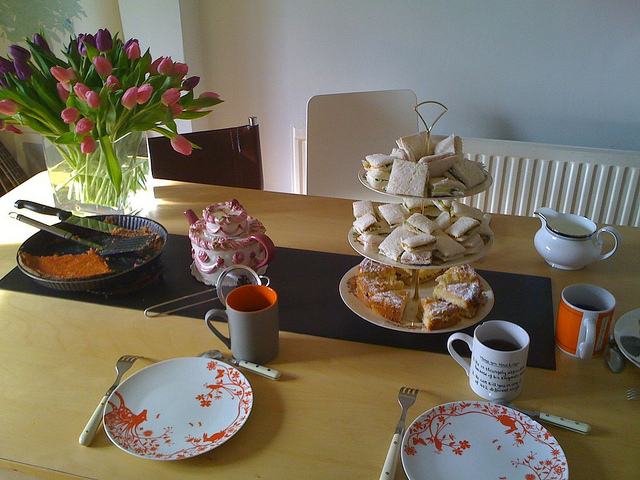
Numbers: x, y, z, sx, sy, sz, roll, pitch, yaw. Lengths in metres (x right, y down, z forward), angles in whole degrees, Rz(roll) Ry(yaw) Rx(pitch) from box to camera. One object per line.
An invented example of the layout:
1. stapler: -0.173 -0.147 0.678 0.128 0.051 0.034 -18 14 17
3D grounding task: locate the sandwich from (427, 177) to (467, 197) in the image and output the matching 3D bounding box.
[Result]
1. sandwich: 0.278 -0.115 1.000 0.081 0.032 0.070 4 25 18

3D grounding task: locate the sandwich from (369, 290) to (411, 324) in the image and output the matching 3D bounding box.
1. sandwich: 0.174 0.154 1.133 0.062 0.027 0.085 7 33 16

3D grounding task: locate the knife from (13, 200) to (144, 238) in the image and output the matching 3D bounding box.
1. knife: -0.743 -0.064 1.408 0.268 0.024 0.040 20 36 -14

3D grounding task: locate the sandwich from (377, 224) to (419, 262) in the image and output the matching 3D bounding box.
1. sandwich: 0.177 0.009 1.076 0.083 0.021 0.063 -38 45 -20

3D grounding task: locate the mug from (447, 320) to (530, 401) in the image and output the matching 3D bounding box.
1. mug: 0.347 0.251 0.948 0.154 0.140 0.090 0 23 9

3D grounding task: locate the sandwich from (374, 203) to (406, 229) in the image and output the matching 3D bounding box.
1. sandwich: 0.191 -0.062 1.240 0.051 0.019 0.069 -17 45 -13

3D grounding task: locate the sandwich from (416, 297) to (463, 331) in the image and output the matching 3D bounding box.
1. sandwich: 0.282 0.173 1.103 0.075 0.025 0.078 7 23 24

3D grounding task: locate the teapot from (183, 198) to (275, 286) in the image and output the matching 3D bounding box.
1. teapot: -0.235 -0.016 1.330 0.235 0.246 0.245 19 29 31

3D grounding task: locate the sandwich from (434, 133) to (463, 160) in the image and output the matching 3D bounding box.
1. sandwich: 0.303 -0.231 1.085 0.066 0.028 0.062 20 64 28

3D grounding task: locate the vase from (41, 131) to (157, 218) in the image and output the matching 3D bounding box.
1. vase: -0.767 -0.258 1.540 0.319 0.259 0.330 15 21 14

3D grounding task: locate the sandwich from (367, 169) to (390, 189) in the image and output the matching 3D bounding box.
1. sandwich: 0.140 -0.145 1.074 0.048 0.054 0.019 3 -6 9

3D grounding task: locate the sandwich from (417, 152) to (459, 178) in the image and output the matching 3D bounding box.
1. sandwich: 0.266 -0.161 1.036 0.078 0.030 0.059 -8 0 17

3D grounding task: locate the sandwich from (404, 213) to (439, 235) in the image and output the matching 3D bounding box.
1. sandwich: 0.248 -0.040 1.105 0.055 0.016 0.056 24 45 31

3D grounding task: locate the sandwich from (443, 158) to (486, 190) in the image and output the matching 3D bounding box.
1. sandwich: 0.343 -0.144 1.070 0.086 0.024 0.083 38 50 15

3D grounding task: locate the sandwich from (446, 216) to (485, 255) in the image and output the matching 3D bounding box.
1. sandwich: 0.360 -0.013 1.124 0.089 0.081 0.030 42 0 23

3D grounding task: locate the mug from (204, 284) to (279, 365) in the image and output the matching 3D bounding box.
1. mug: -0.177 0.173 1.069 0.156 0.175 0.179 -2 24 -20

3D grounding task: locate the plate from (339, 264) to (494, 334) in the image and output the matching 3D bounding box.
1. plate: 0.251 0.152 1.188 0.403 0.067 0.239 -2 24 5

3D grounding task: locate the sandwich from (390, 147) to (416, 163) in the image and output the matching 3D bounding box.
1. sandwich: 0.196 -0.199 1.064 0.040 0.016 0.042 1 30 -4

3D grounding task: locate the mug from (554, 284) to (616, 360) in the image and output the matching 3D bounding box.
1. mug: 0.594 0.188 1.027 0.100 0.149 0.096 14 29 36

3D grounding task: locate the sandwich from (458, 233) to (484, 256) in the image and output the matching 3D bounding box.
1. sandwich: 0.365 0.014 1.089 0.048 0.020 0.053 -9 34 5

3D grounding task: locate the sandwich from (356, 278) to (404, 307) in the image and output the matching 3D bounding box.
1. sandwich: 0.153 0.124 1.176 0.079 0.028 0.086 14 37 23

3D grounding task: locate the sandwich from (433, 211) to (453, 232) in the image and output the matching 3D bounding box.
1. sandwich: 0.303 -0.039 1.159 0.038 0.017 0.067 38 46 10

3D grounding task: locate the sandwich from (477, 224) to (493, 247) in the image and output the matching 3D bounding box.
1. sandwich: 0.407 -0.015 1.150 0.041 0.013 0.056 2 70 23

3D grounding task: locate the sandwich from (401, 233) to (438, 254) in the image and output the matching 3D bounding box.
1. sandwich: 0.231 0.009 1.051 0.056 0.020 0.044 -15 19 -20

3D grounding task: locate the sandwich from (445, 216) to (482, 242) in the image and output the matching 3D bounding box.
1. sandwich: 0.340 -0.029 1.093 0.069 0.022 0.053 -37 15 -21

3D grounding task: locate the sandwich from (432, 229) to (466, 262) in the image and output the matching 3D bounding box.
1. sandwich: 0.301 0.015 1.055 0.055 0.022 0.069 -30 50 -25

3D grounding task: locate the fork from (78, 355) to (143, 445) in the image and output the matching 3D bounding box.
1. fork: -0.426 0.319 0.922 0.024 0.015 0.178 5 41 11

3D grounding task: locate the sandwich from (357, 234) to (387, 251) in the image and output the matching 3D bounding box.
1. sandwich: 0.125 0.002 1.143 0.045 0.016 0.042 -33 49 -26
